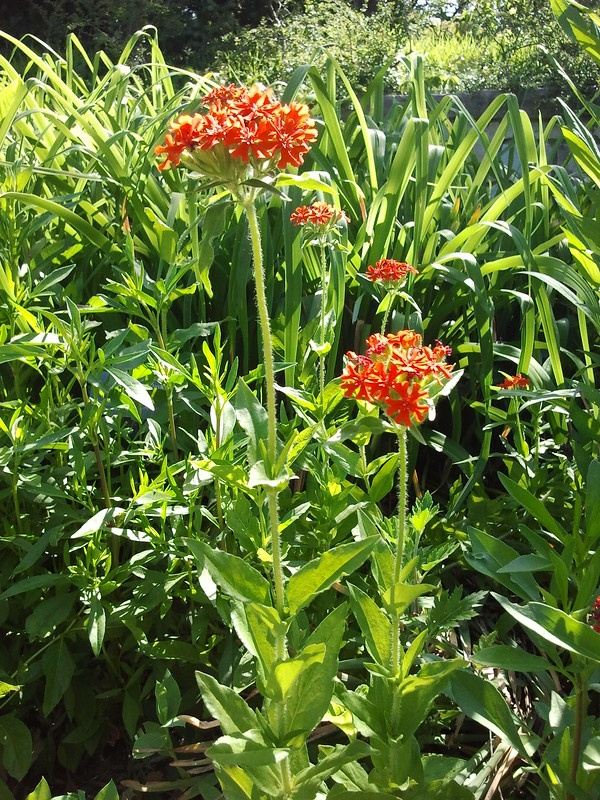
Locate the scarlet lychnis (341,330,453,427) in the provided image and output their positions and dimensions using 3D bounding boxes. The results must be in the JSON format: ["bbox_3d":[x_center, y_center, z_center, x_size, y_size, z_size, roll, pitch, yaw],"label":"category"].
[{"bbox_3d":[0.134,-0.021,0.874,0.133,0.066,0.127,-1,71,18],"label":"scarlet lychnis"}]

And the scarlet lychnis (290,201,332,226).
[{"bbox_3d":[0.017,-0.333,1.274,0.060,0.020,0.060,-4,31,2],"label":"scarlet lychnis"}]

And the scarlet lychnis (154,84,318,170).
[{"bbox_3d":[-0.074,-0.312,0.822,0.176,0.076,0.133,22,43,23],"label":"scarlet lychnis"}]
